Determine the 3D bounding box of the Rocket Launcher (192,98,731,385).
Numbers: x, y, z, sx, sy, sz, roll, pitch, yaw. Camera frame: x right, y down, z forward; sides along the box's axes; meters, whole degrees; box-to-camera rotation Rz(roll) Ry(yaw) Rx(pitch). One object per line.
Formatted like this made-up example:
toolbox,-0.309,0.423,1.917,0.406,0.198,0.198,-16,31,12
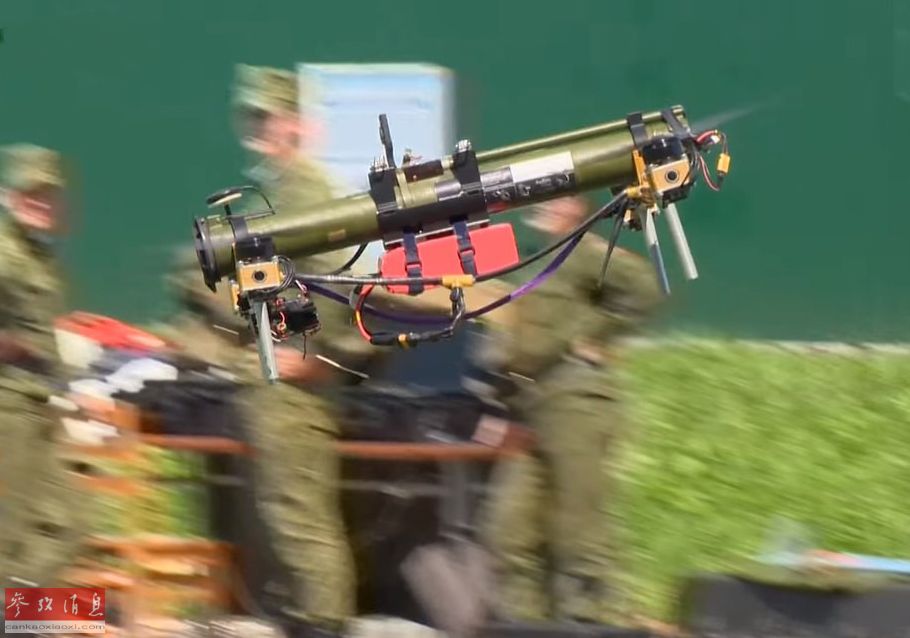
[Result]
Rocket Launcher,0.092,-0.629,8.693,3.836,1.303,1.088,-12,5,23
